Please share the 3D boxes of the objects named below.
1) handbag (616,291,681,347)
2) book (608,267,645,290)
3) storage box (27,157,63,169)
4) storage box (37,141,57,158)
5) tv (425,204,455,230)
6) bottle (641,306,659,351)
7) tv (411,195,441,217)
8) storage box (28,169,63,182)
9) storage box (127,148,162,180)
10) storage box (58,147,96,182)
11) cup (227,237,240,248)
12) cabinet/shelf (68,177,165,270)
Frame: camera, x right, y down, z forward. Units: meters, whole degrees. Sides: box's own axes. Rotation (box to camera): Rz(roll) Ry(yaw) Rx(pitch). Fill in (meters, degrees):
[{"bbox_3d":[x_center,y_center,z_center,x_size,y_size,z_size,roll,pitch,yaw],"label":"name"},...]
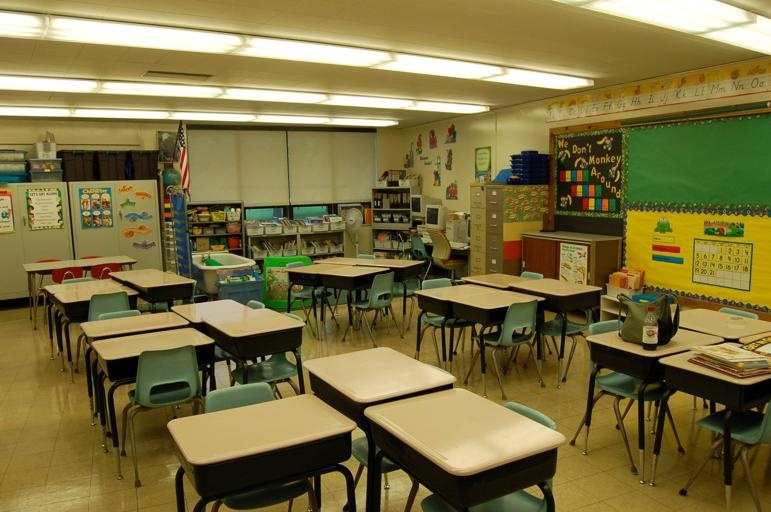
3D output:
[{"bbox_3d":[2.825,0.675,6.020,0.559,0.466,0.313,-2,-6,40],"label":"handbag"},{"bbox_3d":[3.854,0.355,9.033,0.327,0.191,0.416,-2,8,-30],"label":"book"},{"bbox_3d":[-6.738,-1.828,11.160,0.367,0.121,0.347,-1,5,0],"label":"storage box"},{"bbox_3d":[-6.691,-2.083,11.177,0.368,0.319,0.353,-1,5,-18],"label":"storage box"},{"bbox_3d":[1.141,-0.863,12.394,0.629,0.439,0.516,-5,7,-31],"label":"tv"},{"bbox_3d":[2.634,0.701,5.587,0.149,0.398,0.219,1,9,24],"label":"bottle"},{"bbox_3d":[0.943,-1.166,13.161,0.591,0.397,0.544,-3,3,-28],"label":"tv"},{"bbox_3d":[-6.739,-1.594,11.222,0.377,0.143,0.358,0,4,-5],"label":"storage box"},{"bbox_3d":[-5.141,-1.918,12.001,0.598,0.620,0.689,4,4,29],"label":"storage box"},{"bbox_3d":[-6.278,-1.845,11.540,0.612,0.592,0.159,-6,9,-23],"label":"storage box"},{"bbox_3d":[-3.376,-0.301,12.622,0.258,0.180,0.212,2,-1,-30],"label":"cup"},{"bbox_3d":[-5.590,-0.709,11.528,2.100,2.702,0.947,2,2,-32],"label":"cabinet/shelf"}]
